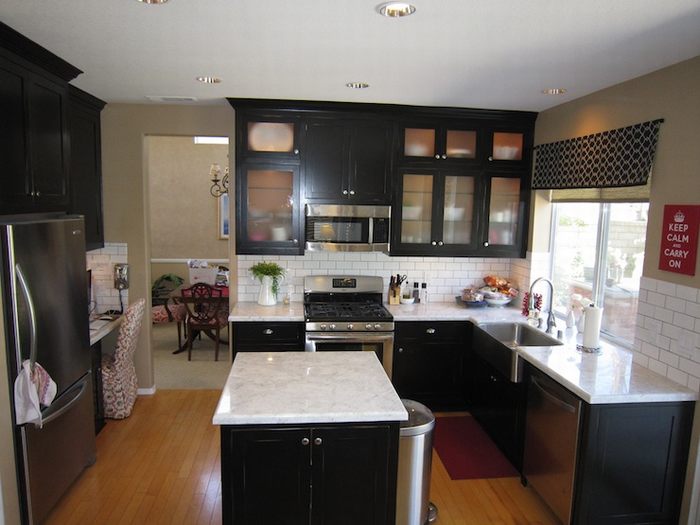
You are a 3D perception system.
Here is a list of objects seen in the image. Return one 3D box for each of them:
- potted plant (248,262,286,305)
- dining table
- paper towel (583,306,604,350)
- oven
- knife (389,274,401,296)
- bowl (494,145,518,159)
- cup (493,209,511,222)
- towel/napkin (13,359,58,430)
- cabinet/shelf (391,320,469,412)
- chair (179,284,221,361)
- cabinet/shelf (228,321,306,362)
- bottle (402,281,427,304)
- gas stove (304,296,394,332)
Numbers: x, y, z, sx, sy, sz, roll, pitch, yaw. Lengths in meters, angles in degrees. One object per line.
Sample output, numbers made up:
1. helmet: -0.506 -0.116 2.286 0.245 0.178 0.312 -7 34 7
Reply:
1. potted plant: -0.847 0.188 5.631 0.415 0.458 0.409 -6 10 -41
2. dining table: -1.989 0.717 7.050 0.695 0.933 0.697 2 13 -7
3. paper towel: 2.017 0.528 4.365 0.142 0.351 0.206 7 13 25
4. oven: 0.021 0.808 5.374 0.884 0.613 0.584 0 19 8
5. knife: 0.487 0.256 5.692 0.070 0.054 0.293 0 30 11
6. bowl: 1.621 -1.119 5.431 0.275 0.125 0.060 -1 12 -15
7. cup: 1.585 -0.484 5.501 0.214 0.119 0.148 2 -5 2
8. towel/napkin: -2.180 0.895 3.654 0.130 0.508 0.254 4 12 13
9. cabinet/shelf: 0.795 1.010 5.603 0.874 1.262 0.829 0 1 -3
10. chair: -1.965 0.714 7.038 0.513 1.012 1.028 -2 12 -14
11. cabinet/shelf: -0.776 0.715 5.090 0.582 0.560 0.339 0 5 -5
12. bottle: 0.709 0.338 5.798 0.249 0.229 0.088 0 -1 -7
13. gas stove: -0.025 0.543 5.344 0.864 0.155 0.613 1 12 -6
